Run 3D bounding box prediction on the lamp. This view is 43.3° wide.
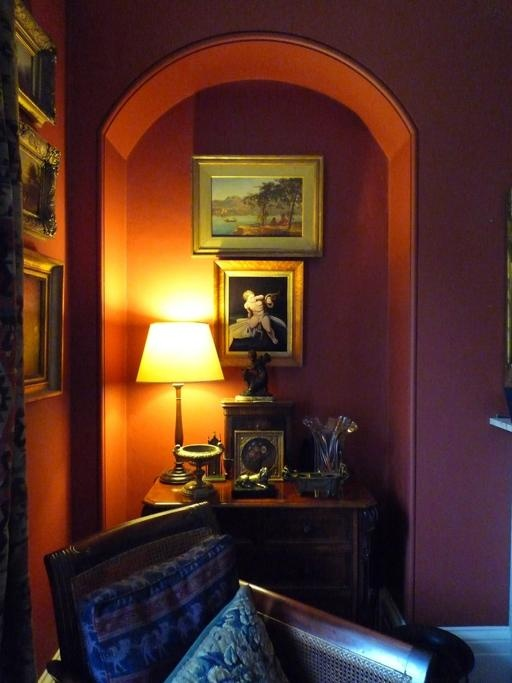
[{"bbox_3d":[-0.338,0.251,2.694,0.336,0.664,0.337,0,-1,-31],"label":"lamp"}]

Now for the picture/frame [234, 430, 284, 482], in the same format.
[{"bbox_3d":[0.012,0.487,2.720,0.172,0.195,0.013,2,-3,-2],"label":"picture/frame"}]

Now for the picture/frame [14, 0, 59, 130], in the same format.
[{"bbox_3d":[-0.706,-0.870,2.042,0.081,0.275,0.310,-1,0,-6],"label":"picture/frame"}]

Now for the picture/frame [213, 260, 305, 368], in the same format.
[{"bbox_3d":[0.011,-0.129,2.948,0.414,0.605,0.041,0,2,1],"label":"picture/frame"}]

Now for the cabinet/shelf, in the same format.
[{"bbox_3d":[0.076,0.575,2.603,0.730,0.812,0.487,0,-1,-3],"label":"cabinet/shelf"}]
